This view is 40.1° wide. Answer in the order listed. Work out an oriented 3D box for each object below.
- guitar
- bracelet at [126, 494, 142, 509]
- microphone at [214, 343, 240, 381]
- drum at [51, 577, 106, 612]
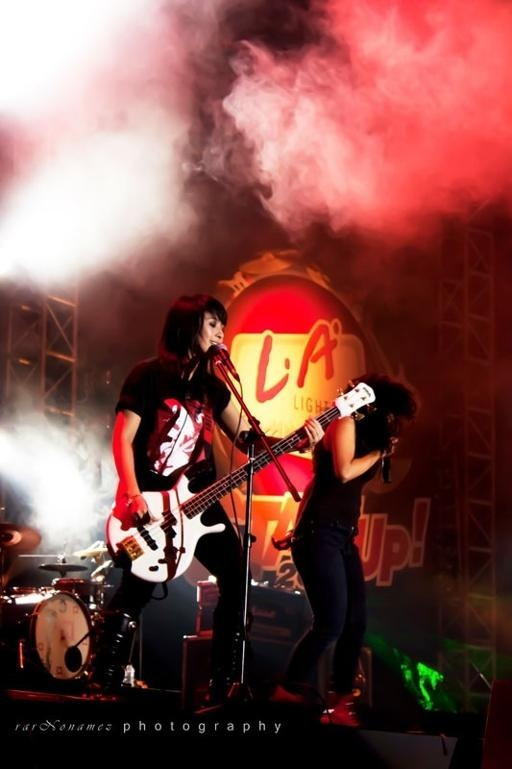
[{"bbox_3d":[-0.131,0.494,3.416,1.088,0.959,0.304,1,-9,6],"label":"guitar"},{"bbox_3d":[-0.573,0.554,3.310,0.068,0.062,0.025,0,-21,18],"label":"bracelet"},{"bbox_3d":[-0.138,-0.090,3.160,0.107,0.169,0.258,3,-9,-1],"label":"microphone"},{"bbox_3d":[-0.967,1.138,3.900,0.280,0.176,0.263,1,-7,0],"label":"drum"}]
